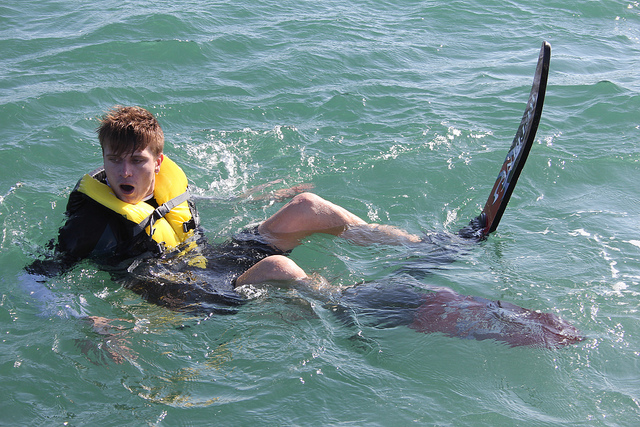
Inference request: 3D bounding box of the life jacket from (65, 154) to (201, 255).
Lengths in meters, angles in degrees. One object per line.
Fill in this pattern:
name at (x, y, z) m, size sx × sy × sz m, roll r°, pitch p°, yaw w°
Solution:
life jacket at (-2.324, -0.029, 10.737) m, size 1.591 × 0.580 × 1.172 m, roll 22°, pitch 48°, yaw -17°
